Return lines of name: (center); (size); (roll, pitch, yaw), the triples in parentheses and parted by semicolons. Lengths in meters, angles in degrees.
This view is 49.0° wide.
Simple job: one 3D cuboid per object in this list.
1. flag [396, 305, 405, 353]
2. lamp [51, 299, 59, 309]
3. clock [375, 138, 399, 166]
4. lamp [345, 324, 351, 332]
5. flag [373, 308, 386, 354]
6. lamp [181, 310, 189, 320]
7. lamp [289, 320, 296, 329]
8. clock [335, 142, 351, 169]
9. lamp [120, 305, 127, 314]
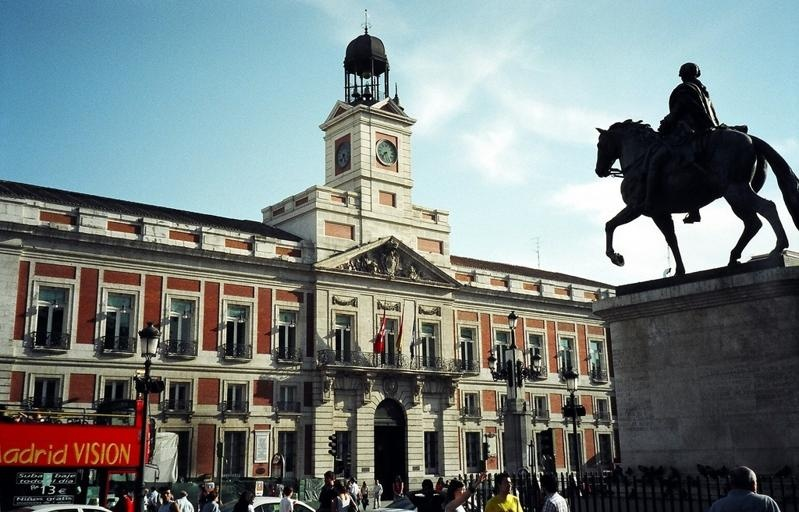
flag: (0.079, 4.479, 54.555); (0.650, 3.160, 0.380); (9, -24, -26)
lamp: (-17.564, 2.417, 44.471); (0.472, 0.402, 0.109); (1, -16, -19)
clock: (-0.911, -6.835, 57.787); (1.909, 2.057, 0.292); (-11, -3, -45)
lamp: (-3.074, 4.333, 52.927); (0.279, 0.245, 0.274); (15, -16, -37)
flag: (-1.217, 4.649, 53.472); (0.741, 2.669, 1.449); (-4, -22, 5)
lamp: (-11.739, 3.227, 47.961); (0.286, 0.360, 0.399); (3, 14, -30)
lamp: (-6.290, 3.963, 51.233); (0.409, 0.487, 0.130); (0, -22, -6)
clock: (-3.708, -6.611, 57.763); (0.212, 1.972, 1.844); (7, -9, -29)
lamp: (-14.618, 2.795, 46.154); (0.346, 0.328, 0.340); (9, -26, 37)
